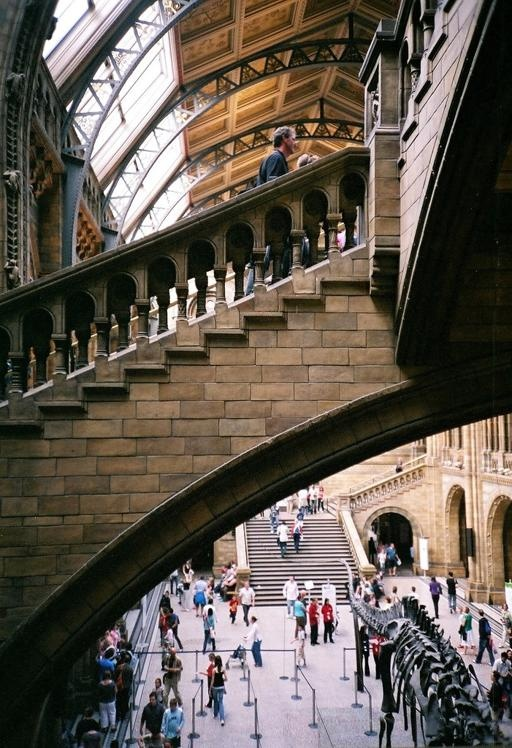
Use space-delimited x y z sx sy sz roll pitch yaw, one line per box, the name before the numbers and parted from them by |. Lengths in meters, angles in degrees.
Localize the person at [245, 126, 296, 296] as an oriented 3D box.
person | 0.100 -1.386 7.779 0.419 1.613 0.820 -1 -11 -1
